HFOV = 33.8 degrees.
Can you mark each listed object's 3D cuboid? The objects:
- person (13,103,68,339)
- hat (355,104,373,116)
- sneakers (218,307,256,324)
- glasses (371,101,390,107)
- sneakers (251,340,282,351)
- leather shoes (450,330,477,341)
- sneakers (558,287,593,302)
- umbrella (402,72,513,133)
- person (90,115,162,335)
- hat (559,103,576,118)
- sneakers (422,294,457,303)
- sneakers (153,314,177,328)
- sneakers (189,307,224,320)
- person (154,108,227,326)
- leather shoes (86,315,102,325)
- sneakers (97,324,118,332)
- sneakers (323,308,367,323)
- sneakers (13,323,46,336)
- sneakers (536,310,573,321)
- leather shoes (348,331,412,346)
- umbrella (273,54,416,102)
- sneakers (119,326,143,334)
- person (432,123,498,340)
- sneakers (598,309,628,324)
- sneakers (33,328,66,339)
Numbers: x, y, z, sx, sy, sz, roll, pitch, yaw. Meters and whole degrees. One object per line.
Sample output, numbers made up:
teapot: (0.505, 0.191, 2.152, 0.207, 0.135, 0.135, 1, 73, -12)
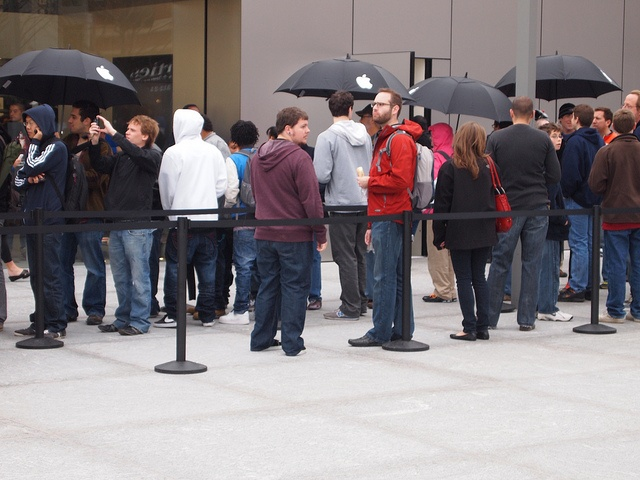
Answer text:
person: (-2.726, -0.181, 10.362, 0.580, 2.273, 0.796, -3, 1, -23)
hat: (0.562, -1.592, 12.919, 0.211, 0.102, 0.123, 10, 9, -10)
sneakers: (-0.915, 0.846, 11.515, 0.402, 0.148, 0.134, 2, -3, 15)
glasses: (0.585, -1.298, 10.067, 0.164, 0.036, 0.054, -1, 1, 24)
sneakers: (-0.532, 1.009, 10.163, 0.334, 0.110, 0.110, 2, 0, -41)
leather shoes: (1.469, 0.970, 10.702, 0.259, 0.088, 0.098, 6, 5, 32)
sneakers: (3.183, 0.669, 13.136, 0.465, 0.192, 0.170, 3, 4, 20)
umbrella: (1.779, -1.805, 13.273, 0.867, 0.523, 0.799, -1, 22, -28)
person: (-1.943, -0.167, 10.781, 0.761, 2.161, 0.703, -3, 1, -20)
hat: (3.335, -1.745, 14.090, 0.226, 0.147, 0.265, 1, -1, -8)
sneakers: (1.489, 0.723, 13.013, 0.413, 0.137, 0.134, 3, -4, 5)
sneakers: (-1.701, 0.860, 11.246, 0.311, 0.111, 0.135, 2, -1, 23)
sneakers: (-1.221, 0.815, 11.684, 0.388, 0.143, 0.127, 15, -12, -37)
person: (-1.361, -0.216, 10.983, 0.746, 2.128, 0.731, -2, 1, -1)
leather shoes: (-2.422, 0.849, 11.238, 0.082, 0.064, 0.168, -7, -17, 35)
sneakers: (-2.206, 0.910, 10.889, 0.159, 0.048, 0.092, 8, -1, -17)
sneakers: (0.270, 0.839, 11.797, 0.432, 0.142, 0.136, 2, -4, 8)
sneakers: (-2.905, 0.896, 10.503, 0.318, 0.112, 0.106, 3, 1, -3)
sneakers: (2.655, 0.840, 11.836, 0.311, 0.108, 0.144, -1, 0, 4)
leather shoes: (0.586, 0.978, 10.438, 0.542, 0.176, 0.166, 2, -3, -2)
umbrella: (0.319, -1.979, 12.851, 1.184, 0.338, 1.100, -1, 2, -6)
sneakers: (-1.939, 0.914, 10.750, 0.222, 0.075, 0.087, 0, 19, -24)
person: (1.460, -0.075, 10.496, 0.637, 1.831, 0.532, -2, 1, 4)
sneakers: (3.263, 0.851, 11.754, 0.350, 0.121, 0.118, 6, 2, 7)
sneakers: (-2.618, 0.920, 10.337, 0.205, 0.074, 0.071, 11, -10, -35)
